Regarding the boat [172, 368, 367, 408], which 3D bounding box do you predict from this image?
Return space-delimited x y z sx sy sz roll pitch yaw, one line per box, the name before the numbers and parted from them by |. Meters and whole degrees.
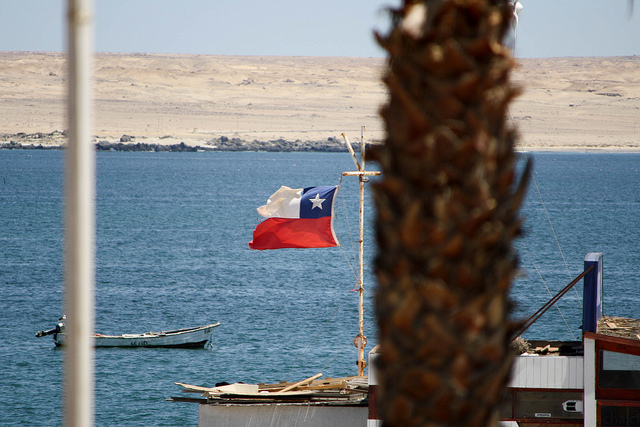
boat | -12.978 49.438 531.837 49.939 8.382 6.002 0 -1 1
